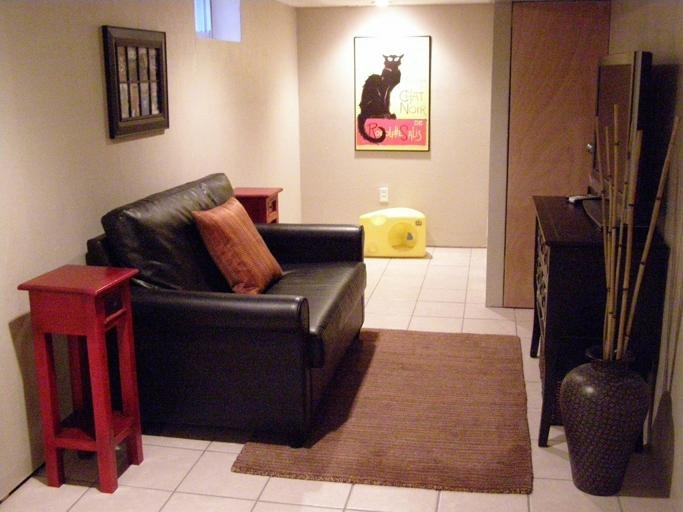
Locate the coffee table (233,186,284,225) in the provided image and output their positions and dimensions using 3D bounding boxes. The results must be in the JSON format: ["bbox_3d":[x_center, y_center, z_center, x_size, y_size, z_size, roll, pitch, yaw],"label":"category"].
[{"bbox_3d":[-0.647,-0.442,4.346,0.320,0.346,0.343,2,20,7],"label":"coffee table"}]

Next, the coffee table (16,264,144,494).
[{"bbox_3d":[-1.146,0.544,2.560,0.378,0.965,0.485,2,18,11],"label":"coffee table"}]

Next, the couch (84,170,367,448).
[{"bbox_3d":[-0.531,0.172,3.473,1.171,1.269,1.797,-2,14,10],"label":"couch"}]

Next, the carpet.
[{"bbox_3d":[0.304,0.784,3.276,1.402,0.041,1.929,12,18,3],"label":"carpet"}]

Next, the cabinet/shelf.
[{"bbox_3d":[1.239,0.339,2.545,0.408,0.850,1.097,1,18,13],"label":"cabinet/shelf"}]
